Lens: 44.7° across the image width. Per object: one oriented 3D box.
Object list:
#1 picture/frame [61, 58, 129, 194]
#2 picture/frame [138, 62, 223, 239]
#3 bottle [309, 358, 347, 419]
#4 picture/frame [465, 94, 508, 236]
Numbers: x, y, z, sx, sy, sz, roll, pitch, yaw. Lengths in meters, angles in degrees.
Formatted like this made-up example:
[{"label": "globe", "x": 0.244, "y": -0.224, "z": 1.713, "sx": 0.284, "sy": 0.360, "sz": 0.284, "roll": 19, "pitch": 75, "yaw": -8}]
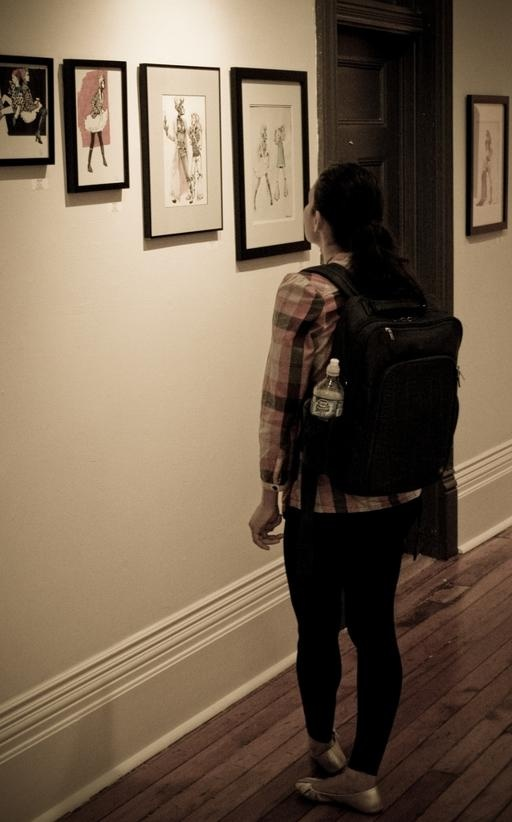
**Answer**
[{"label": "picture/frame", "x": -0.364, "y": -0.636, "z": 1.375, "sx": 0.027, "sy": 0.333, "sz": 0.253, "roll": 6, "pitch": 15, "yaw": 21}, {"label": "picture/frame", "x": -0.209, "y": -0.697, "z": 1.640, "sx": 0.034, "sy": 0.542, "sz": 0.404, "roll": 4, "pitch": 12, "yaw": 25}, {"label": "bottle", "x": 0.126, "y": -0.039, "z": 1.087, "sx": 0.053, "sy": 0.121, "sz": 0.062, "roll": 9, "pitch": 24, "yaw": 8}, {"label": "picture/frame", "x": 1.148, "y": -1.255, "z": 3.125, "sx": 0.032, "sy": 0.881, "sz": 0.516, "roll": 11, "pitch": 20, "yaw": 35}]
